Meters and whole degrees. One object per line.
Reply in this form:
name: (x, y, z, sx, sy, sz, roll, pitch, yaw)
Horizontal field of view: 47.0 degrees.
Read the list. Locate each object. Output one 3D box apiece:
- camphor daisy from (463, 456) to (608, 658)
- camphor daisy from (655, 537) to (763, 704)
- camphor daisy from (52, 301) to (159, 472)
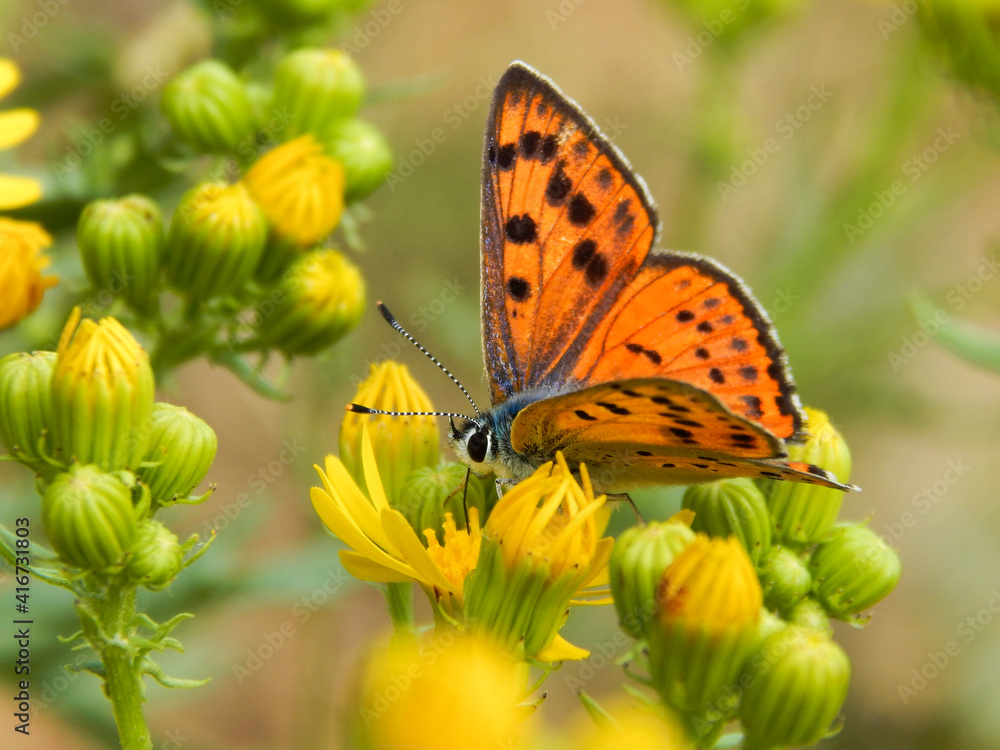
camphor daisy: (0.058, 0.244, 1.513, 0.181, 0.255, 0.188, 18, 39, 11)
camphor daisy: (0.266, 0.333, 1.516, 0.127, 0.197, 0.121, 14, 38, 5)
camphor daisy: (-0.530, 0.019, 1.512, 0.134, 0.203, 0.132, 21, 26, 22)
